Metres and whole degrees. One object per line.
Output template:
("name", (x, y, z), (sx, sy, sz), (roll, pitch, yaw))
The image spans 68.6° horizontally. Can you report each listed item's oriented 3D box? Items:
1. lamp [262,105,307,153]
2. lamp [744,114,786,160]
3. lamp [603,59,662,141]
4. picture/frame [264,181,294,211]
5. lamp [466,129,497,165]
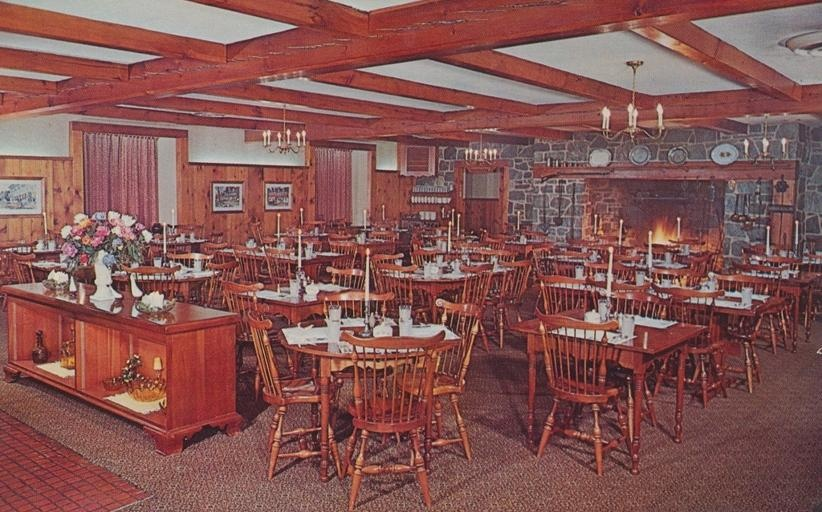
("lamp", (-2.677, -2.681, 12.803), (0.976, 0.955, 0.834), (0, 6, -3))
("lamp", (6.687, -2.239, 11.347), (0.808, 0.768, 2.082), (2, 7, 29))
("lamp", (3.056, -2.141, 8.273), (1.023, 1.045, 0.971), (3, 6, 25))
("picture/frame", (-3.403, -1.564, 15.362), (0.083, 0.644, 0.857), (3, 5, 43))
("lamp", (1.873, -2.811, 15.865), (0.902, 0.685, 2.743), (-1, 6, 5))
